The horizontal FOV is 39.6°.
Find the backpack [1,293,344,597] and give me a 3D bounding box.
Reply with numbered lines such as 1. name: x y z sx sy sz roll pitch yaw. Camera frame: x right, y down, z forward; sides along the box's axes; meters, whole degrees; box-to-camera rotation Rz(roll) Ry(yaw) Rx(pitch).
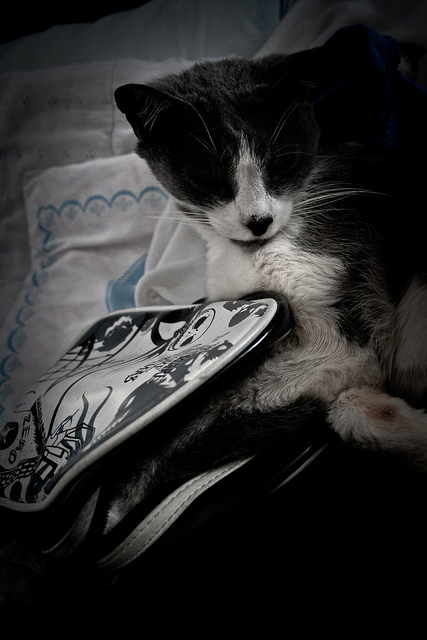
1. backpack: -0.025 0.202 0.768 0.432 0.158 0.319 -40 35 16
